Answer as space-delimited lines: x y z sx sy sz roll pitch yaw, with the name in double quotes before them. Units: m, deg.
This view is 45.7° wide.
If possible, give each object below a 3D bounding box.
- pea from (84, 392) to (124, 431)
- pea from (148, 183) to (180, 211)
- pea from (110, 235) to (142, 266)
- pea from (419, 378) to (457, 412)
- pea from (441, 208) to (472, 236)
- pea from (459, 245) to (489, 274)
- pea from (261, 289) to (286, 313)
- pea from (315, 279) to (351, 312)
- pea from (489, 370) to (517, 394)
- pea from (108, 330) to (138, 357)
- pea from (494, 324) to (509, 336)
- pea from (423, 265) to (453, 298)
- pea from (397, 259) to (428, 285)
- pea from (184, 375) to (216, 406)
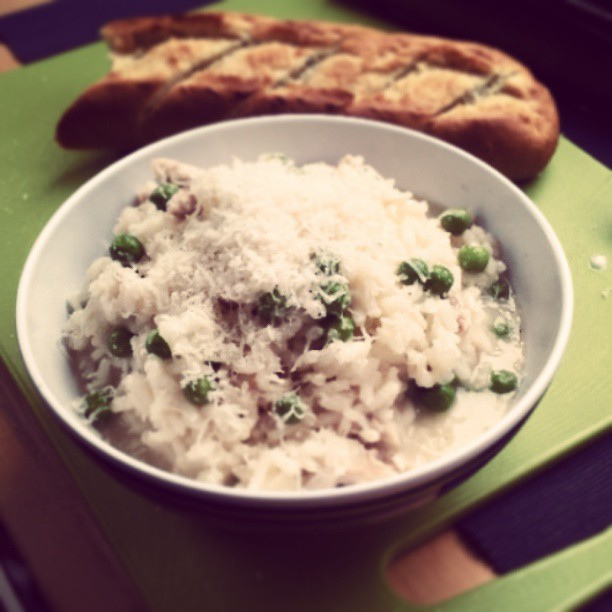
"pea" -0.390 0.198 1.420 0.082 0.064 0.031 27 109 25
"pea" -0.322 -0.250 1.636 0.066 0.050 0.038 -25 89 -5
"pea" -0.384 -0.123 1.554 0.057 0.037 0.068 8 83 -5
"pea" 0.269 0.178 1.439 0.075 0.044 0.057 -7 60 -8
"pea" 0.334 -0.185 1.624 0.056 0.037 0.061 3 93 16
"pea" 0.362 -0.100 1.566 0.058 0.056 0.060 1 94 6
"pea" -0.065 -0.008 1.416 0.048 0.032 0.034 26 61 11
"pea" 0.053 -0.017 1.424 0.068 0.053 0.052 6 59 -1
"pea" 0.388 0.151 1.420 0.033 0.013 0.044 -4 55 24
"pea" -0.373 0.077 1.483 0.059 0.025 0.050 -4 60 -7
"pea" 0.406 0.050 1.503 0.022 0.009 0.023 -2 65 12
"pea" 0.275 -0.050 1.500 0.047 0.037 0.066 5 77 9
"pea" 0.222 -0.071 1.499 0.061 0.031 0.057 23 61 9
"pea" -0.194 0.161 1.374 0.041 0.027 0.050 19 58 -1
